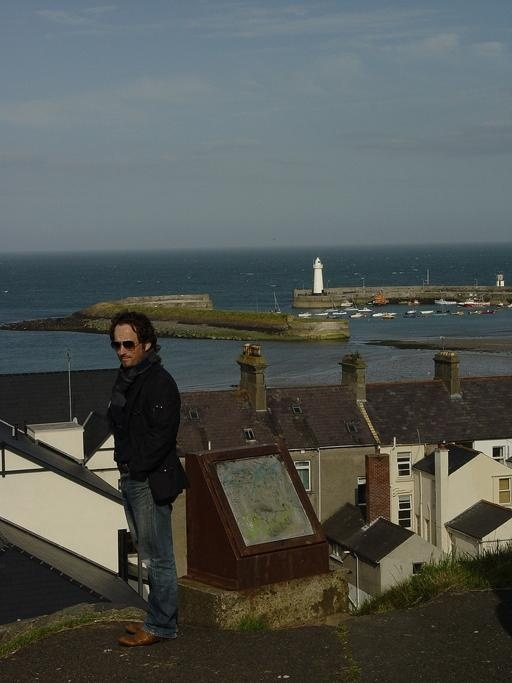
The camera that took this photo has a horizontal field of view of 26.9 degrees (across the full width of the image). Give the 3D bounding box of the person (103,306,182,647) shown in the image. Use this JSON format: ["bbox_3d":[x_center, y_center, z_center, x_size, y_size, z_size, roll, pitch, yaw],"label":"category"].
[{"bbox_3d":[-0.761,0.934,7.366,0.593,2.123,0.467,5,1,4],"label":"person"}]

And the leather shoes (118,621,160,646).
[{"bbox_3d":[-0.770,1.989,7.301,0.181,0.064,0.134,12,2,-12],"label":"leather shoes"}]
